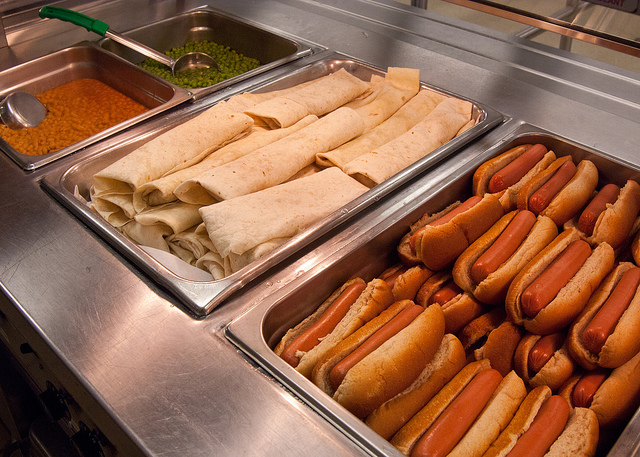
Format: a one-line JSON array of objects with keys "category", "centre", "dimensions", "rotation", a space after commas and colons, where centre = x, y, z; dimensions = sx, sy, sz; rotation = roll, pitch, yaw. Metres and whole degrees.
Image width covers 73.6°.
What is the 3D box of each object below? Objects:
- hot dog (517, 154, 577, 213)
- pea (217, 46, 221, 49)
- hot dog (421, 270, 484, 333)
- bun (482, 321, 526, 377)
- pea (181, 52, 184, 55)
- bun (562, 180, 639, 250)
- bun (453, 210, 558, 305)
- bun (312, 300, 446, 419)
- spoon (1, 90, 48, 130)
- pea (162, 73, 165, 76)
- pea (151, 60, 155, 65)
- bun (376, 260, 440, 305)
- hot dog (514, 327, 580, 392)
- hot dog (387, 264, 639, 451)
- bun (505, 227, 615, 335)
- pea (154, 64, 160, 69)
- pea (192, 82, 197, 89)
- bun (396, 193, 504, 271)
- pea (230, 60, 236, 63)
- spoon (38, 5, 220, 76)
[{"category": "hot dog", "centre": [0.722, -0.128, 1.333], "dimensions": [0.249, 0.073, 0.112], "rotation": [-45, 27, -13]}, {"category": "pea", "centre": [-0.524, -0.929, 2.199], "dimensions": [0.012, 0.005, 0.019], "rotation": [20, 45, 12]}, {"category": "hot dog", "centre": [0.338, 0.179, 1.115], "dimensions": [0.123, 0.050, 0.140], "rotation": [-26, 43, -24]}, {"category": "bun", "centre": [0.448, 0.285, 1.051], "dimensions": [0.044, 0.112, 0.119], "rotation": [20, 35, 33]}, {"category": "pea", "centre": [-0.700, -0.882, 2.166], "dimensions": [0.014, 0.004, 0.010], "rotation": [-34, 59, -31]}, {"category": "bun", "centre": [0.827, -0.026, 1.254], "dimensions": [0.266, 0.093, 0.137], "rotation": [-40, 44, -24]}, {"category": "bun", "centre": [0.514, 0.077, 1.187], "dimensions": [0.349, 0.111, 0.177], "rotation": [-38, 39, -27]}, {"category": "bun", "centre": [0.149, 0.288, 0.999], "dimensions": [0.347, 0.112, 0.167], "rotation": [-25, 29, -36]}, {"category": "spoon", "centre": [-1.198, -0.475, 1.717], "dimensions": [0.146, 0.065, 0.178], "rotation": [9, 50, 2]}, {"category": "pea", "centre": [-0.739, -0.723, 2.017], "dimensions": [0.015, 0.005, 0.010], "rotation": [-23, 53, -27]}, {"category": "pea", "centre": [-0.822, -0.815, 2.101], "dimensions": [0.028, 0.007, 0.014], "rotation": [-16, 78, -37]}, {"category": "bun", "centre": [0.229, 0.132, 1.168], "dimensions": [0.124, 0.043, 0.119], "rotation": [-28, 46, -17]}, {"category": "hot dog", "centre": [0.571, 0.307, 1.083], "dimensions": [0.134, 0.080, 0.268], "rotation": [17, 24, 36]}, {"category": "hot dog", "centre": [0.449, 0.296, 0.963], "dimensions": [0.591, 0.113, 0.117], "rotation": [-32, 84, -31]}, {"category": "bun", "centre": [0.631, 0.149, 1.136], "dimensions": [0.323, 0.115, 0.166], "rotation": [-41, 51, -23]}, {"category": "pea", "centre": [-0.798, -0.787, 2.081], "dimensions": [0.017, 0.007, 0.030], "rotation": [33, 50, 8]}, {"category": "pea", "centre": [-0.563, -0.637, 1.912], "dimensions": [0.028, 0.014, 0.026], "rotation": [-20, 50, -18]}, {"category": "bun", "centre": [0.390, 0.004, 1.266], "dimensions": [0.377, 0.129, 0.171], "rotation": [-29, 20, -34]}, {"category": "pea", "centre": [-0.433, -0.820, 2.111], "dimensions": [0.025, 0.006, 0.017], "rotation": [-10, 71, -16]}, {"category": "spoon", "centre": [-0.928, -0.881, 2.035], "dimensions": [0.863, 0.114, 0.194], "rotation": [25, 55, 1]}]
